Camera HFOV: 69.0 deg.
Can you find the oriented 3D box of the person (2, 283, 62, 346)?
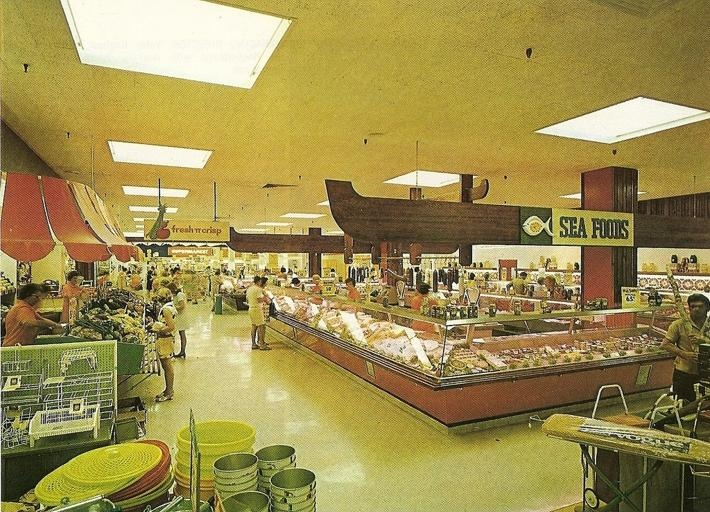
[{"bbox_3d":[-4.402,0.789,6.854,0.552,0.748,0.775,-3,11,0],"label":"person"}]

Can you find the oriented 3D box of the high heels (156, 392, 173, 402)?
[{"bbox_3d":[-2.860,2.109,7.724,0.204,0.075,0.118,5,-3,-22],"label":"high heels"}]

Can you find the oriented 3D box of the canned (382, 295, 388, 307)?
[{"bbox_3d":[0.496,0.712,8.003,0.109,0.143,0.103,2,-8,-13],"label":"canned"}]

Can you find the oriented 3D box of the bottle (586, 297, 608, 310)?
[{"bbox_3d":[3.615,0.716,7.707,0.281,0.181,0.279,-2,-1,0],"label":"bottle"}]

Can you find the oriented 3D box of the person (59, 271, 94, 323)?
[{"bbox_3d":[-5.037,0.837,9.235,0.445,1.003,0.410,14,19,1],"label":"person"}]

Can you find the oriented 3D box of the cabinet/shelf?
[{"bbox_3d":[1.457,1.343,7.908,5.723,1.640,3.340,4,13,33],"label":"cabinet/shelf"}]

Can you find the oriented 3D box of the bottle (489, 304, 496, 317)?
[{"bbox_3d":[1.847,0.742,6.928,0.145,0.141,0.097,-1,0,17],"label":"bottle"}]

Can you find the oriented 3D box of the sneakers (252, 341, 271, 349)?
[{"bbox_3d":[-2.037,1.911,11.057,0.180,0.104,0.298,2,-4,-39],"label":"sneakers"}]
